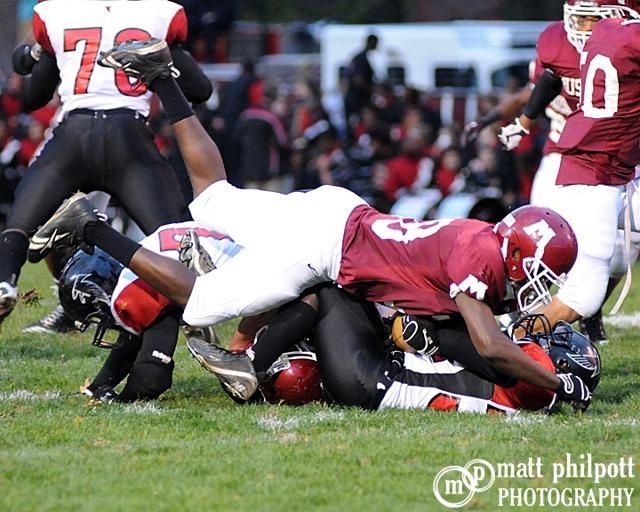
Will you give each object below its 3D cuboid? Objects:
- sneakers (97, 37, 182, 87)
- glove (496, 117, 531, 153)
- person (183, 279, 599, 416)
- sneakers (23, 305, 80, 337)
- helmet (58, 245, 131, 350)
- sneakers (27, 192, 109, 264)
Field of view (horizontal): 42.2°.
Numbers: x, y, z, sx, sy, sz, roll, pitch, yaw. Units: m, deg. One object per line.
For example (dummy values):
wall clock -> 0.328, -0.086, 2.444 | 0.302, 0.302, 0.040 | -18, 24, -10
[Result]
sneakers -> -1.001, -1.096, 4.486 | 0.448, 0.204, 0.264 | 3, 30, 19
glove -> 1.376, -0.862, 5.941 | 0.237, 0.181, 0.108 | -32, -25, 24
person -> 0.138, 0.543, 4.074 | 0.882, 0.571, 1.539 | -8, -18, 31
sneakers -> -1.717, 0.440, 5.603 | 0.531, 0.232, 0.186 | 3, -2, -6
helmet -> -1.196, 0.290, 4.439 | 0.305, 0.269, 0.337 | -46, 21, -13
sneakers -> -1.316, -0.182, 4.326 | 0.503, 0.246, 0.188 | -22, -7, 25
